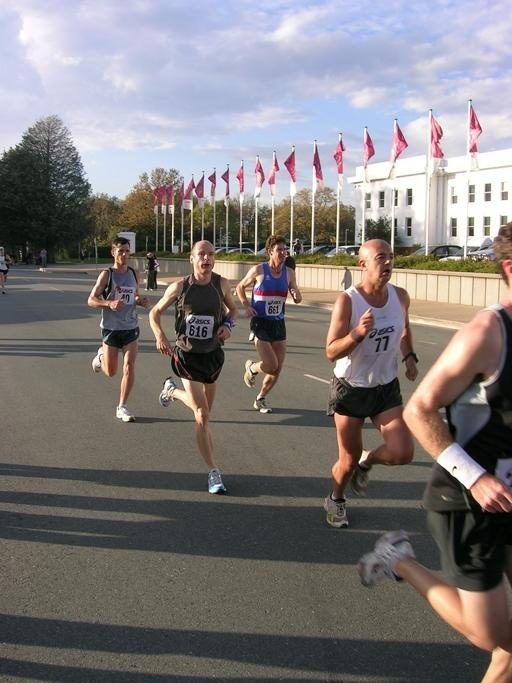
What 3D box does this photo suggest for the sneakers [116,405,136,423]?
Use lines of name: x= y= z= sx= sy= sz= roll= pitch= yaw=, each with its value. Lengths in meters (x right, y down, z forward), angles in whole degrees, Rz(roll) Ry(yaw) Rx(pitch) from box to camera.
sneakers: x=-1.489 y=0.819 z=7.065 sx=0.113 sy=0.121 sz=0.286 roll=3 pitch=7 yaw=-44

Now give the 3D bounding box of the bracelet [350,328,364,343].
bracelet: x=0.543 y=-0.036 z=3.470 sx=0.073 sy=0.058 sz=0.065 roll=0 pitch=46 yaw=-43

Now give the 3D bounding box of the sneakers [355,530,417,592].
sneakers: x=0.520 y=0.866 z=2.511 sx=0.128 sy=0.158 sz=0.263 roll=3 pitch=-32 yaw=-48

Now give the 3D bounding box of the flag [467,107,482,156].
flag: x=8.472 y=-8.068 z=24.394 sx=0.421 sy=1.739 sz=2.905 roll=3 pitch=5 yaw=19

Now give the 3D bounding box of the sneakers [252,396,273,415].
sneakers: x=0.065 y=0.774 z=7.585 sx=0.108 sy=0.119 sz=0.269 roll=6 pitch=3 yaw=-34

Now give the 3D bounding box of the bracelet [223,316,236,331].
bracelet: x=-0.213 y=-0.142 z=4.927 sx=0.085 sy=0.106 sz=0.047 roll=10 pitch=-3 yaw=-25

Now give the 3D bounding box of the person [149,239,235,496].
person: x=-0.481 y=0.152 z=5.094 sx=0.639 sy=1.862 sz=1.176 roll=-2 pitch=6 yaw=-34

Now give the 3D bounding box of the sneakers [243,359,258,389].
sneakers: x=-0.077 y=0.458 z=8.496 sx=0.200 sy=0.423 sz=0.162 roll=-8 pitch=1 yaw=31

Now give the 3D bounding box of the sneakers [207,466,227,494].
sneakers: x=-0.293 y=1.042 z=4.689 sx=0.130 sy=0.150 sz=0.176 roll=1 pitch=5 yaw=-6

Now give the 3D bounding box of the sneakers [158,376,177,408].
sneakers: x=-0.985 y=0.576 z=6.951 sx=0.212 sy=0.441 sz=0.163 roll=17 pitch=38 yaw=4

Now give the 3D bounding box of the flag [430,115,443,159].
flag: x=7.628 y=-8.617 z=26.590 sx=0.538 sy=1.625 sz=2.883 roll=3 pitch=5 yaw=15

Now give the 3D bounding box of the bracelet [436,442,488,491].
bracelet: x=0.605 y=0.367 z=1.851 sx=0.129 sy=0.130 sz=0.044 roll=-44 pitch=-19 yaw=14
